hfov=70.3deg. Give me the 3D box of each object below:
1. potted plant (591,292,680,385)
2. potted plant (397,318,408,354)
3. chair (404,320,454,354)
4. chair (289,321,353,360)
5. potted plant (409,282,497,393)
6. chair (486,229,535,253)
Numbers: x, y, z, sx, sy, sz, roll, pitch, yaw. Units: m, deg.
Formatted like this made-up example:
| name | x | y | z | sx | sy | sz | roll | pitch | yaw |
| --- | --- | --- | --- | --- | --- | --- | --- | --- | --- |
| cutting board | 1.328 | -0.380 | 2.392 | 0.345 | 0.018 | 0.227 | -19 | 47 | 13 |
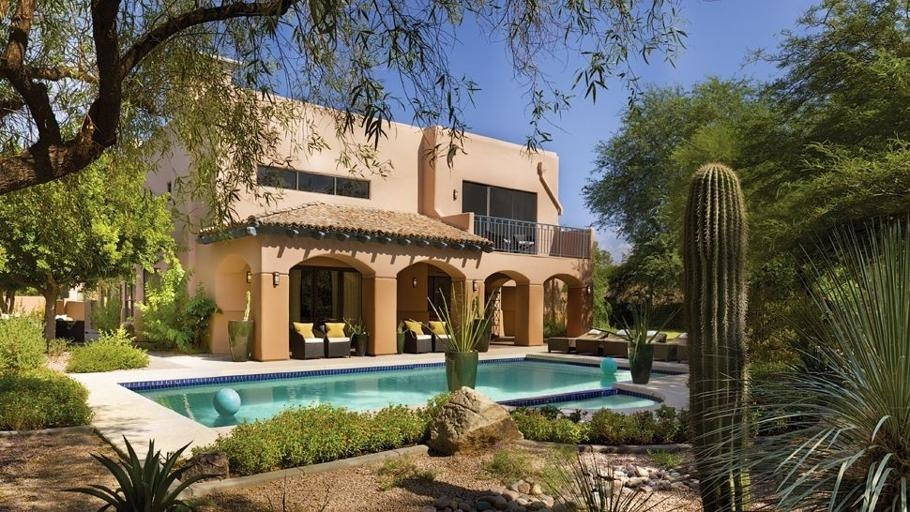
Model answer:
| name | x | y | z | sx | sy | sz | roll | pitch | yaw |
| --- | --- | --- | --- | --- | --- | --- | --- | --- | --- |
| potted plant | 4.729 | 2.260 | 16.808 | 2.092 | 1.928 | 2.065 | 5 | -4 | -23 |
| potted plant | -1.856 | 2.808 | 22.395 | 0.311 | 1.102 | 0.619 | 1 | -9 | -5 |
| chair | -0.899 | 2.685 | 21.181 | 0.557 | 1.014 | 1.597 | -5 | -8 | 41 |
| chair | -4.398 | 3.058 | 20.558 | 1.905 | 1.376 | 1.088 | 6 | -10 | -37 |
| potted plant | 0.079 | 1.997 | 14.080 | 1.211 | 2.025 | 1.096 | -2 | 0 | 26 |
| chair | 2.228 | -0.571 | 25.829 | 1.196 | 0.564 | 1.215 | 1 | -3 | -20 |
